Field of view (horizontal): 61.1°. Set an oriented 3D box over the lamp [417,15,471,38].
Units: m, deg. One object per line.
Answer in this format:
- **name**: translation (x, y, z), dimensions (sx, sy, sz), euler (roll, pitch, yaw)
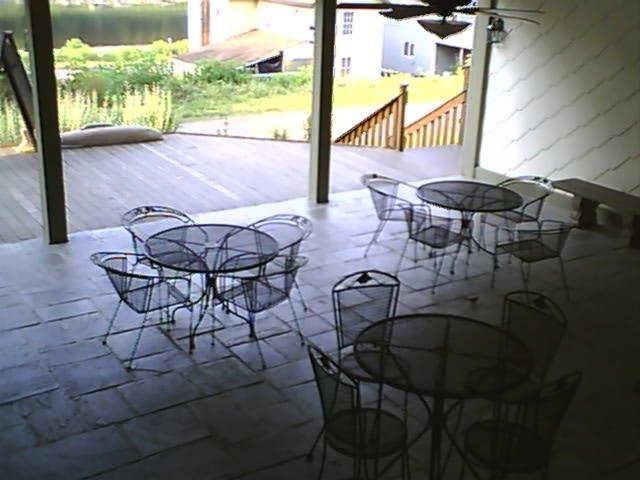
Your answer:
- **lamp**: translation (1.027, -1.764, 4.508), dimensions (0.406, 0.162, 0.387), euler (7, 22, 13)
